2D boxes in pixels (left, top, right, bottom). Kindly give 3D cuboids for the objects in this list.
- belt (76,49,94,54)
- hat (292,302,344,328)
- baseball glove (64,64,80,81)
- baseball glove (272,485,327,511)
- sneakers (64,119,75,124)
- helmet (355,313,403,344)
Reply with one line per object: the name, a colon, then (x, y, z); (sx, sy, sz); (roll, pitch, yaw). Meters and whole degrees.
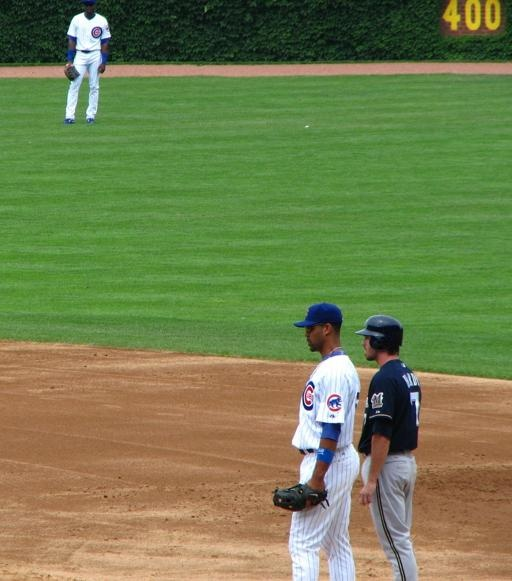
belt: (-3.197, -4.515, 33.104); (0.302, 0.091, 0.101); (3, 10, 1)
hat: (0.733, 0.284, 20.755); (0.435, 0.254, 0.294); (1, 2, 2)
baseball glove: (-3.462, -4.106, 33.001); (0.217, 0.283, 0.098); (-34, 13, -22)
baseball glove: (0.497, 2.387, 20.426); (0.480, 0.248, 0.306); (1, -5, -24)
sneakers: (-3.762, -3.426, 35.445); (0.259, 0.120, 0.092); (2, 0, 22)
helmet: (1.482, 0.440, 20.986); (0.429, 0.251, 0.332); (10, -4, 13)
